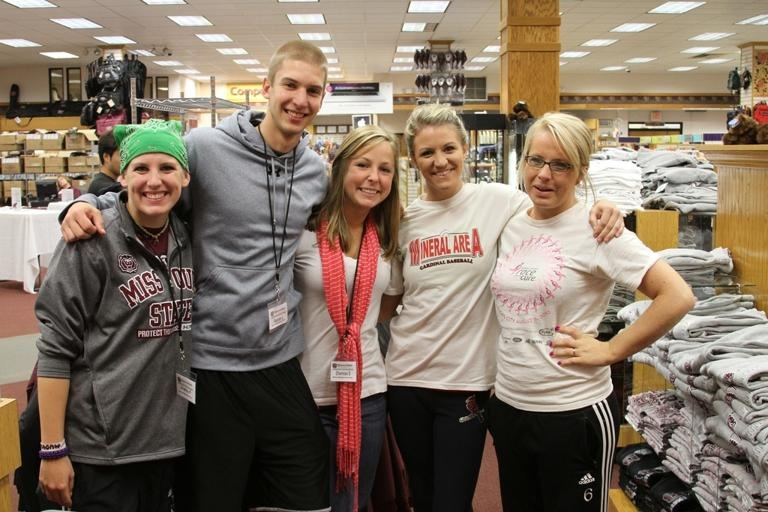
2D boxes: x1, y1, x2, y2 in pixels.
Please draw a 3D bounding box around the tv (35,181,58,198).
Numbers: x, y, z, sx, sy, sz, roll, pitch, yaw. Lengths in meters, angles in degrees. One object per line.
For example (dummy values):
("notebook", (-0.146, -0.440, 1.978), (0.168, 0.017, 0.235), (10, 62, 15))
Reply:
("tv", (-6.258, -1.229, 10.382), (0.314, 0.272, 0.177), (2, 12, -4))
